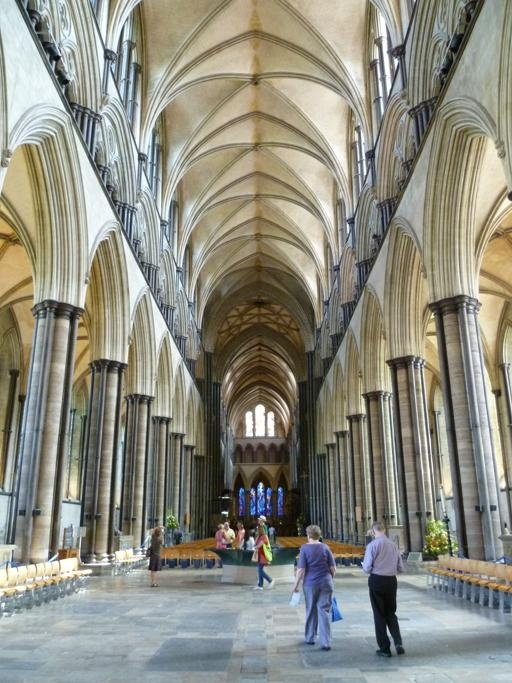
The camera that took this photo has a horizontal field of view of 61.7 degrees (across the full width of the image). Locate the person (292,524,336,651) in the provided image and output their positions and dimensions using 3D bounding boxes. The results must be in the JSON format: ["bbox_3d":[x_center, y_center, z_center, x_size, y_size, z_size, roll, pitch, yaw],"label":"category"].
[{"bbox_3d":[0.468,1.934,3.428,0.246,0.937,0.283,-1,-2,4],"label":"person"}]

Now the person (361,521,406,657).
[{"bbox_3d":[0.901,1.730,3.021,0.267,0.842,0.545,-7,-20,19],"label":"person"}]

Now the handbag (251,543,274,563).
[{"bbox_3d":[0.126,4.189,8.476,0.341,0.380,0.595,0,-21,-3],"label":"handbag"}]

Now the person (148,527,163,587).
[{"bbox_3d":[-2.199,4.660,9.314,0.279,1.172,2.305,3,-22,-12],"label":"person"}]

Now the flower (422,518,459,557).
[{"bbox_3d":[4.606,4.942,10.675,0.605,0.912,1.199,-1,-21,1],"label":"flower"}]
